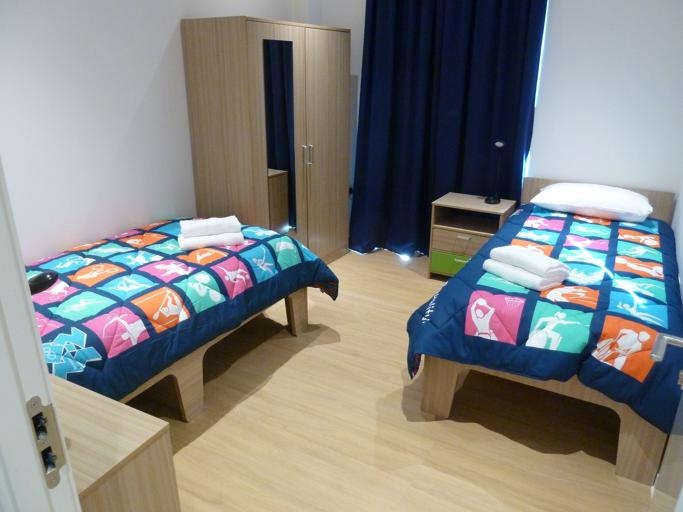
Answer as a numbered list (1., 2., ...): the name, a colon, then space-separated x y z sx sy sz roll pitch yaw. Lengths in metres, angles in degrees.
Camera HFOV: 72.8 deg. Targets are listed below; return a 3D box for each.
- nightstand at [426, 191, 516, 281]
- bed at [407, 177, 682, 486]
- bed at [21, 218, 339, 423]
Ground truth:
1. nightstand: 1.130 -0.118 4.153 0.572 0.717 0.393 13 25 29
2. bed: 1.430 0.230 2.976 1.233 0.863 1.977 12 39 25
3. bed: -1.069 0.262 2.531 1.217 0.514 1.280 17 31 22
